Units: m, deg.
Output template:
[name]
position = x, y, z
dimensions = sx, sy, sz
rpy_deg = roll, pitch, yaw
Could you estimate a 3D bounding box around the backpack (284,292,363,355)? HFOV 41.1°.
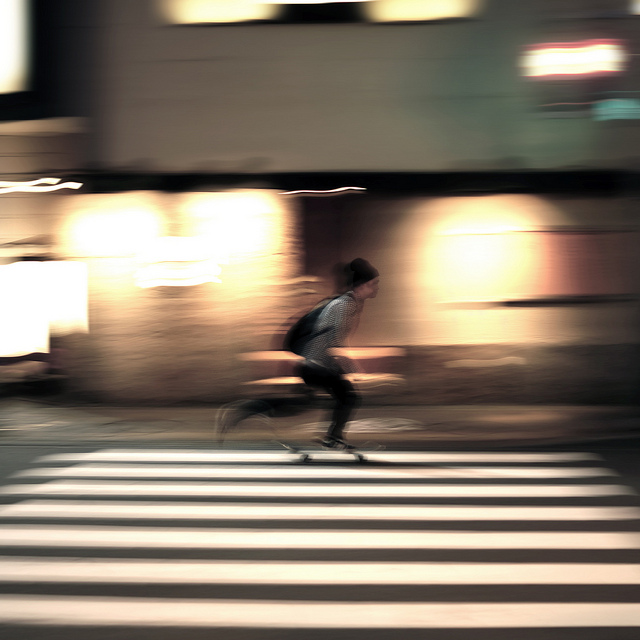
[backpack]
position = -0.106, 0.090, 8.711
dimensions = 0.243, 0.538, 0.389
rpy_deg = -1, 17, -41
